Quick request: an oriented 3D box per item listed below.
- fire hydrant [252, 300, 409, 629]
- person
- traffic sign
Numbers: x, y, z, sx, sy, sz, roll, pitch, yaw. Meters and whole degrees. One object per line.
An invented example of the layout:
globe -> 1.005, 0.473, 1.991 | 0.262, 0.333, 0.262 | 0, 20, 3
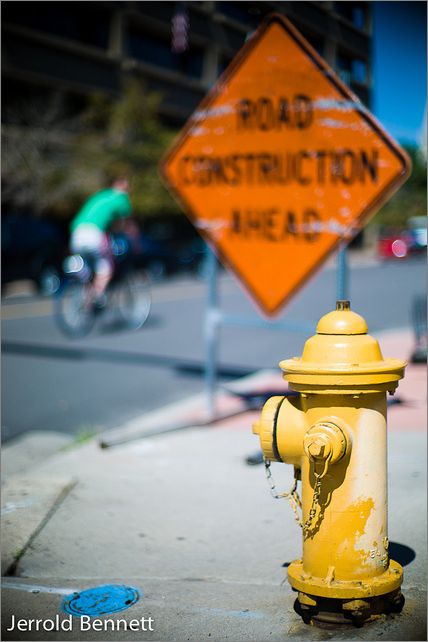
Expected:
fire hydrant -> 0.450, 0.547, 2.626 | 0.577, 1.246, 0.439 | 1, 9, 17
person -> -1.461, -0.850, 8.620 | 0.761, 1.448, 1.381 | -3, 8, -12
traffic sign -> 0.278, -0.663, 2.931 | 0.323, 1.265, 1.103 | -10, 12, -43
